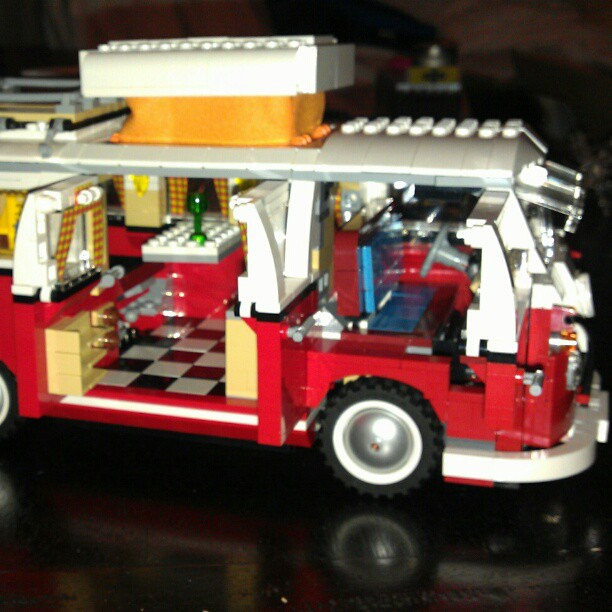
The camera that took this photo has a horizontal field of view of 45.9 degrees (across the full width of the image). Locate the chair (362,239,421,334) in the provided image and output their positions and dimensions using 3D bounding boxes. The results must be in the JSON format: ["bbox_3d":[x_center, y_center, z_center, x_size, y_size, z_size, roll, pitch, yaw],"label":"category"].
[{"bbox_3d":[0.273,-0.153,2.296,0.205,0.276,0.390,2,17,9],"label":"chair"}]
